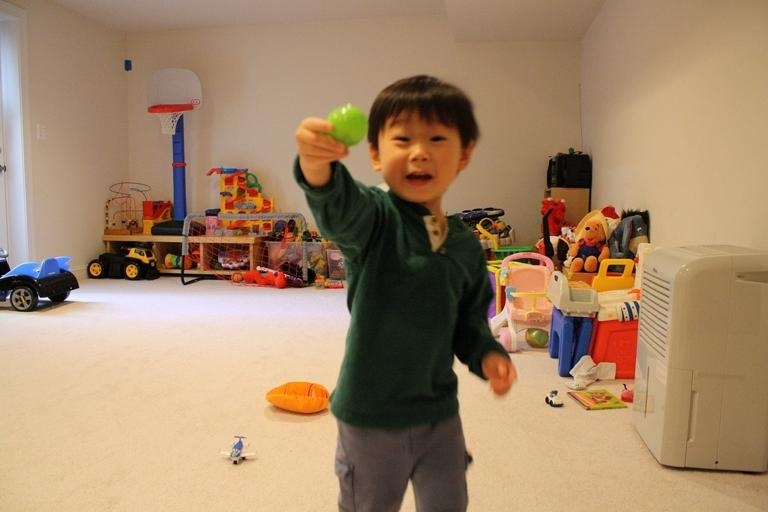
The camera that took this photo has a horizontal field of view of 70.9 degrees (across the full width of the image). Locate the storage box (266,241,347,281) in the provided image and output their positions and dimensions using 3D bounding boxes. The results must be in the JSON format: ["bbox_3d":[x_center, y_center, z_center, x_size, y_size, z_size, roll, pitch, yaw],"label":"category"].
[{"bbox_3d":[-0.752,0.026,5.127,0.537,0.344,0.550,2,3,36],"label":"storage box"}]

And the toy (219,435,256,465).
[{"bbox_3d":[-0.597,0.789,2.221,0.095,0.038,0.093,2,27,1],"label":"toy"}]
